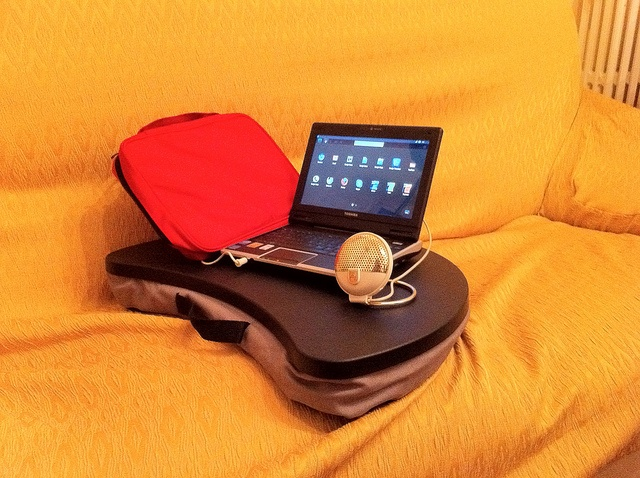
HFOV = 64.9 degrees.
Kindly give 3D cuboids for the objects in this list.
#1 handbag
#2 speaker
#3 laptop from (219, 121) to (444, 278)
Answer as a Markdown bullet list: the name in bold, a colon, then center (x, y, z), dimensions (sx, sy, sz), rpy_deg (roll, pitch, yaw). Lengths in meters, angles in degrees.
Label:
- **handbag**: center (-0.204, -0.126, 1.032), dimensions (0.229, 0.185, 0.330), rpy_deg (27, 43, 31)
- **speaker**: center (0.071, 0.053, 0.812), dimensions (0.093, 0.116, 0.050), rpy_deg (10, -5, 28)
- **laptop**: center (0.044, -0.058, 0.982), dimensions (0.342, 0.351, 0.249), rpy_deg (13, -2, 29)
